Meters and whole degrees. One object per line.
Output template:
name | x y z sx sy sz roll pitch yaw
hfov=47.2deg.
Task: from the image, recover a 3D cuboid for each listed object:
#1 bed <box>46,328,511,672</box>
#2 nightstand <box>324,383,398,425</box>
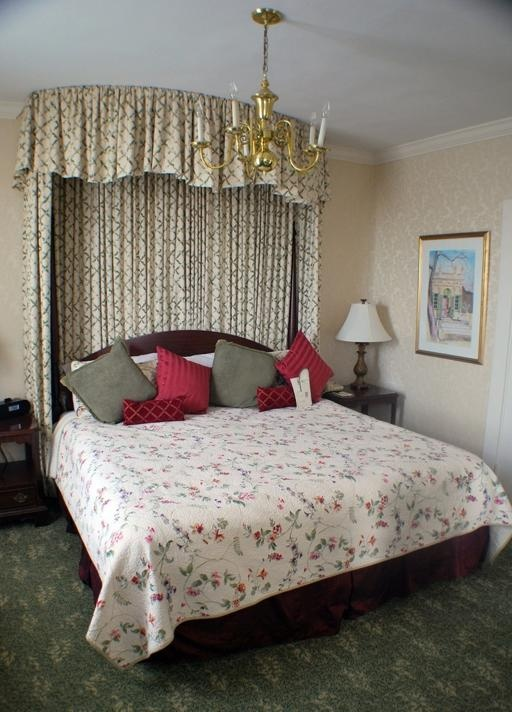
bed | 0.031 0.678 2.950 1.930 0.593 1.828 -3 10 -22
nightstand | 0.781 0.301 4.390 0.402 0.362 0.376 -5 9 -31
